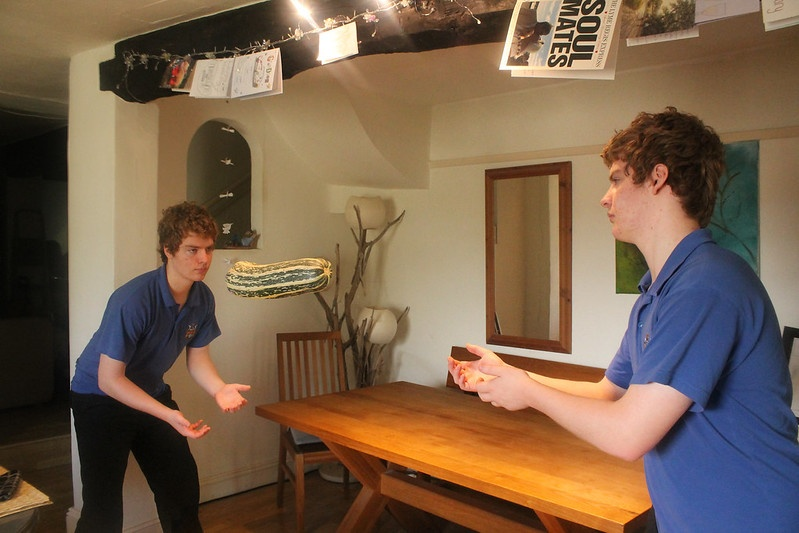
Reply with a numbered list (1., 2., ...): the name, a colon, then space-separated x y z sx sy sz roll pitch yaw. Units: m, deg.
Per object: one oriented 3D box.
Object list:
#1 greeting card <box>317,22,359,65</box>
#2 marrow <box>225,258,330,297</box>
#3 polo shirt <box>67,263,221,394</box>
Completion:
1. greeting card: -0.309 -1.130 2.849 0.208 0.148 0.028 -2 -1 37
2. marrow: -0.607 0.018 2.958 0.466 0.185 0.229 -5 12 8
3. polo shirt: -1.464 0.333 3.217 0.510 0.778 0.795 22 6 21
